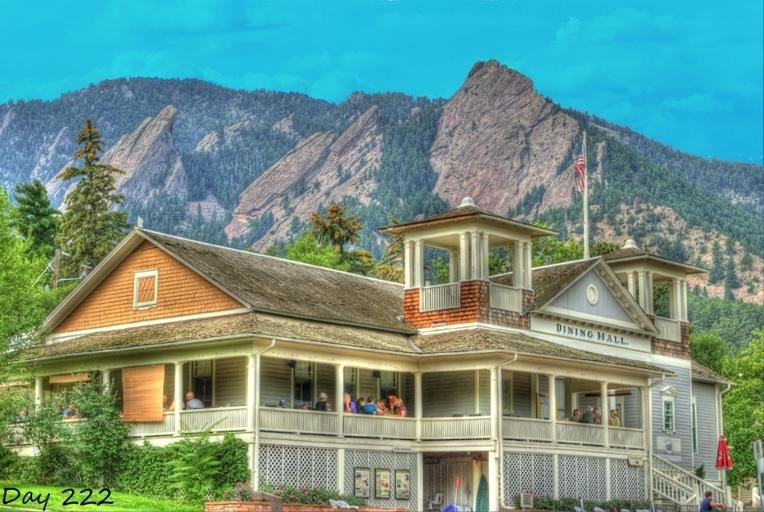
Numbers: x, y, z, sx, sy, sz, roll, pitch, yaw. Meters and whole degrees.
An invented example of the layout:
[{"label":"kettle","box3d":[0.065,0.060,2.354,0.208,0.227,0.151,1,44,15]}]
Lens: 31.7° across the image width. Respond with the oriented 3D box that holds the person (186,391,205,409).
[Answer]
[{"label":"person","box3d":[-12.074,9.439,87.202,0.583,0.681,1.561,11,5,-17]}]
